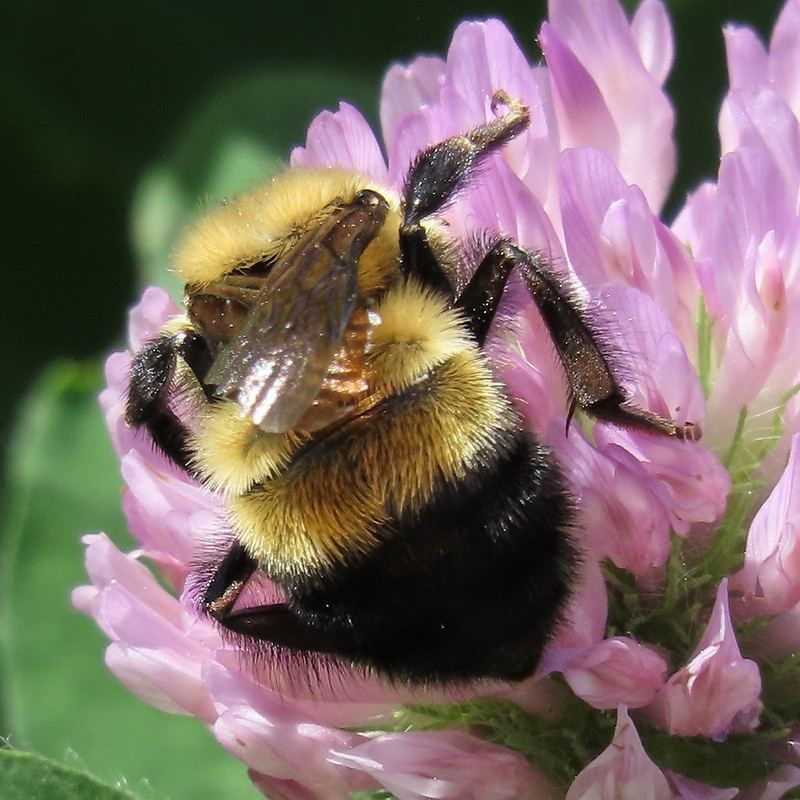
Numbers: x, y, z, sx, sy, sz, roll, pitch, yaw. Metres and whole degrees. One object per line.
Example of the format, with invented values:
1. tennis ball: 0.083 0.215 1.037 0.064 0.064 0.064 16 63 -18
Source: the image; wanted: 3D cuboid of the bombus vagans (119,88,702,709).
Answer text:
1. bombus vagans: 0.001 -0.007 1.010 0.404 0.447 0.290 -17 3 -17
